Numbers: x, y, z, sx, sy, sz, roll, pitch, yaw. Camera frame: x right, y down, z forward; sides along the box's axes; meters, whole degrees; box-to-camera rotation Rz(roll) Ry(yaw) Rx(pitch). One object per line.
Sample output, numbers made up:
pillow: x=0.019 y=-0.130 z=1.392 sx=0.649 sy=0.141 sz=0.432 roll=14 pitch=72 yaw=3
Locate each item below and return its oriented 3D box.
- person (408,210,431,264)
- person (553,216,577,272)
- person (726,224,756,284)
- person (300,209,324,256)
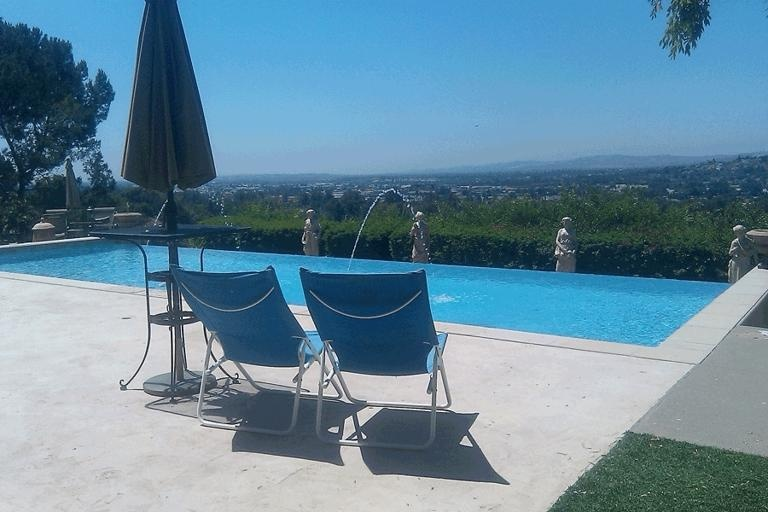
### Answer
person: x=0.834 y=-0.451 z=12.988 sx=0.370 sy=1.245 sz=1.049 roll=-1 pitch=13 yaw=4
person: x=3.667 y=-0.236 z=11.425 sx=0.357 sy=1.152 sz=0.601 roll=2 pitch=14 yaw=15
person: x=6.258 y=0.017 z=9.937 sx=0.364 sy=1.105 sz=0.600 roll=10 pitch=18 yaw=40
person: x=-1.875 y=-0.580 z=14.757 sx=0.450 sy=1.369 sz=1.248 roll=-3 pitch=13 yaw=-6
